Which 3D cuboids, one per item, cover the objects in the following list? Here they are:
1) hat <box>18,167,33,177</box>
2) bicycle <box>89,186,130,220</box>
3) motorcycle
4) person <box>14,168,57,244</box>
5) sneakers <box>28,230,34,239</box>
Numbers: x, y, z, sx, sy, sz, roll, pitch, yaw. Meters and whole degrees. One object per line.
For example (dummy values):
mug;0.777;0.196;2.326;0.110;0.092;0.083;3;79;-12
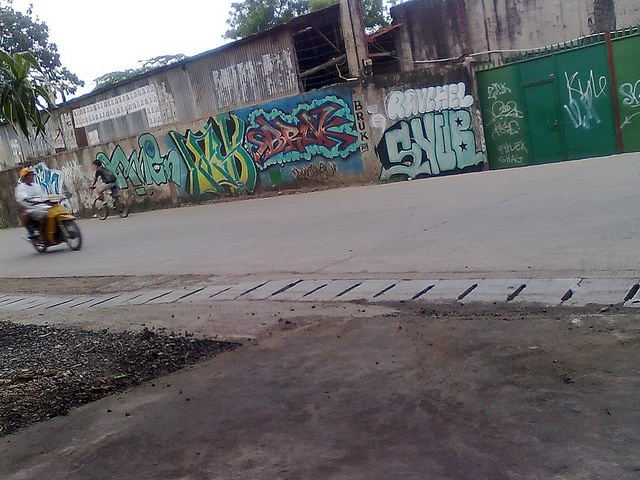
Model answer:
hat;-6.866;-1.583;13.060;0.256;0.195;0.208;-15;13;-35
bicycle;-7.854;-1.359;20.767;1.417;1.111;0.777;3;10;11
motorcycle;-6.551;-0.442;13.464;1.862;1.334;0.662;-1;10;34
person;-6.741;-0.818;13.185;0.832;1.767;0.659;-7;9;-2
sneakers;-6.961;-0.146;13.453;0.103;0.170;0.149;7;6;-5
